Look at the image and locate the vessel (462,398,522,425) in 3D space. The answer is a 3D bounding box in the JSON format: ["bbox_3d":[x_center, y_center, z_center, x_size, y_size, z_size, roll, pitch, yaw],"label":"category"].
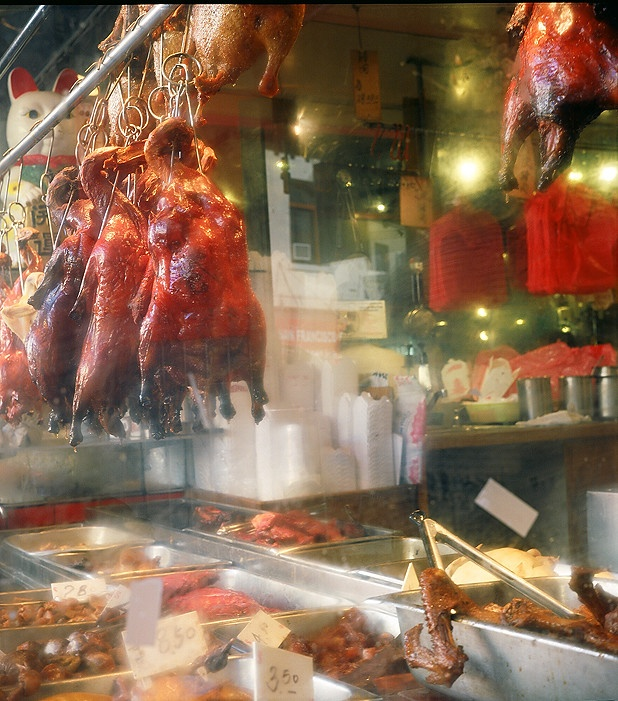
[{"bbox_3d":[0.338,0.113,1.261,0.058,0.021,0.075,7,-15,-28],"label":"vessel"}]

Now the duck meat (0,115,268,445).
[{"bbox_3d":[-0.355,-0.201,1.792,0.677,0.910,0.347,-15,-25,20],"label":"duck meat"}]

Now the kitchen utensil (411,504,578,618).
[{"bbox_3d":[0.359,0.393,1.288,0.349,0.067,0.185,27,13,5],"label":"kitchen utensil"}]

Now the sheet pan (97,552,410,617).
[{"bbox_3d":[-0.096,0.633,1.891,0.427,0.077,0.425,9,-13,-43],"label":"sheet pan"}]

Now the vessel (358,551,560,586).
[{"bbox_3d":[0.362,0.491,1.575,0.203,0.081,0.304,7,-15,-38],"label":"vessel"}]

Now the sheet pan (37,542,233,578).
[{"bbox_3d":[-0.673,0.756,2.518,0.366,0.066,0.354,8,-8,-38],"label":"sheet pan"}]

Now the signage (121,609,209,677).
[{"bbox_3d":[-0.261,0.472,1.153,0.039,0.100,0.188,-8,-5,41],"label":"signage"}]

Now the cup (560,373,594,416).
[{"bbox_3d":[0.425,0.073,1.100,0.053,0.070,0.029,7,23,29],"label":"cup"}]

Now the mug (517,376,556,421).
[{"bbox_3d":[0.383,0.086,1.155,0.043,0.083,0.068,-7,19,-7],"label":"mug"}]
